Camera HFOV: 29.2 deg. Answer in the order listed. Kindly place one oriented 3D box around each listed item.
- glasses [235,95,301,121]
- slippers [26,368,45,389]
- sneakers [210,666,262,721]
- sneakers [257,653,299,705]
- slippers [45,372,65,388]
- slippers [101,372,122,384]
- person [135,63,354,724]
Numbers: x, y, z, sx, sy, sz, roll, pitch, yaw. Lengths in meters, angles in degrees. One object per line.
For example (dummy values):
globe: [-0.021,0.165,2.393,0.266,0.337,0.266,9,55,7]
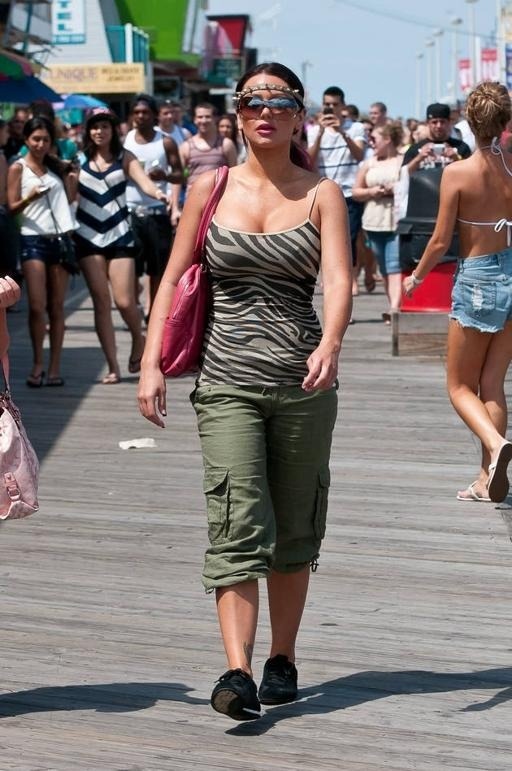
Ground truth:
glasses: [0.037,-0.722,2.545,0.168,0.056,0.096,0,8,-2]
slippers: [-1.830,-0.054,8.134,0.151,0.078,0.366,0,11,-8]
sneakers: [-0.035,0.707,2.258,0.073,0.066,0.163,-5,-27,22]
sneakers: [0.063,0.787,2.644,0.082,0.054,0.158,1,13,7]
slippers: [-1.681,-0.047,8.172,0.148,0.064,0.322,-1,4,-6]
slippers: [-1.231,-0.056,8.229,0.078,0.111,0.199,-1,-10,12]
person: [-0.031,0.015,2.529,0.550,1.700,0.721,1,9,4]
